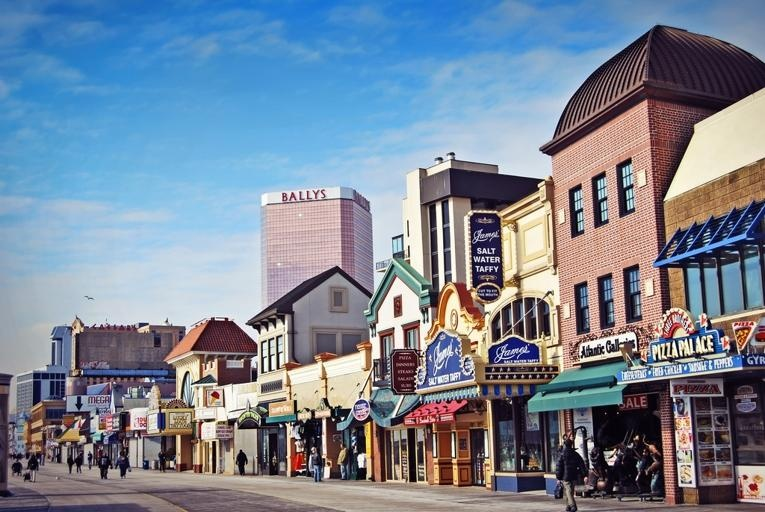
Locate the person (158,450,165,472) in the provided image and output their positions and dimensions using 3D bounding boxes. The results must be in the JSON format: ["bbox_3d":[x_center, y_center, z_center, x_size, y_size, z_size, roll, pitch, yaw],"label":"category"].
[{"bbox_3d":[-17.415,16.269,91.950,0.308,1.557,1.276,3,-15,-17],"label":"person"}]
